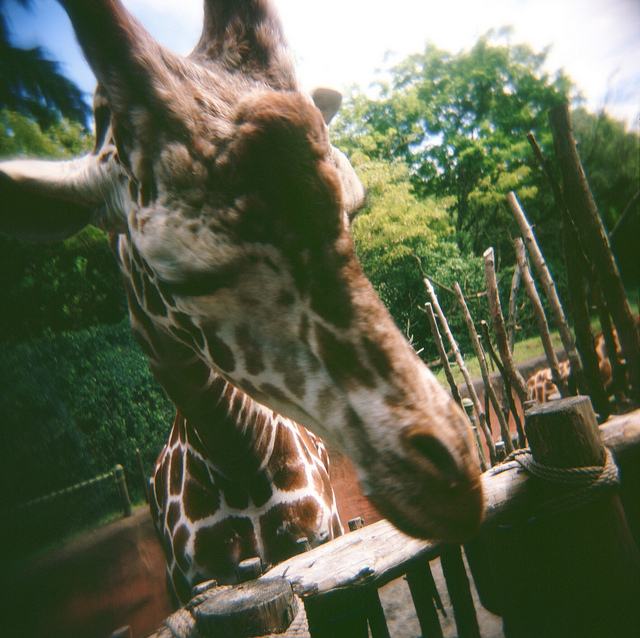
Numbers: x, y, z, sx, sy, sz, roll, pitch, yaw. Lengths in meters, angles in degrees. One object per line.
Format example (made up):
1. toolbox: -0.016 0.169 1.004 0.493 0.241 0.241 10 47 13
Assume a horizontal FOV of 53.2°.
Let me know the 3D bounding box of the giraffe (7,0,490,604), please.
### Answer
1. giraffe: -0.375 -0.015 2.537 1.223 2.134 1.676 -13 -6 -42

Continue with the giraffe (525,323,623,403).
1. giraffe: 2.105 0.387 5.302 0.724 0.582 0.173 -32 3 -29
